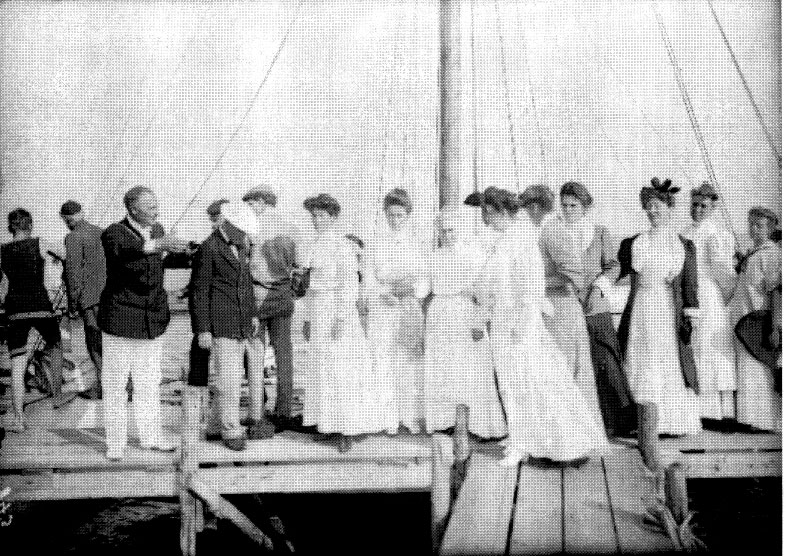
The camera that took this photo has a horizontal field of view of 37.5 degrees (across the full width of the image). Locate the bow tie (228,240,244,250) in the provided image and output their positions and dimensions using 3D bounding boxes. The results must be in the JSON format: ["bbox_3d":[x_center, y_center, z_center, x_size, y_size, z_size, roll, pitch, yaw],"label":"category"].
[{"bbox_3d":[-0.912,-0.201,6.729,0.052,0.053,0.013,-9,12,-5],"label":"bow tie"}]

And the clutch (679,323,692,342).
[{"bbox_3d":[1.702,0.320,6.819,0.071,0.101,0.085,-4,0,2],"label":"clutch"}]

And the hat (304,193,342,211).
[{"bbox_3d":[-0.428,-0.454,6.726,0.144,0.071,0.105,3,1,6],"label":"hat"}]
